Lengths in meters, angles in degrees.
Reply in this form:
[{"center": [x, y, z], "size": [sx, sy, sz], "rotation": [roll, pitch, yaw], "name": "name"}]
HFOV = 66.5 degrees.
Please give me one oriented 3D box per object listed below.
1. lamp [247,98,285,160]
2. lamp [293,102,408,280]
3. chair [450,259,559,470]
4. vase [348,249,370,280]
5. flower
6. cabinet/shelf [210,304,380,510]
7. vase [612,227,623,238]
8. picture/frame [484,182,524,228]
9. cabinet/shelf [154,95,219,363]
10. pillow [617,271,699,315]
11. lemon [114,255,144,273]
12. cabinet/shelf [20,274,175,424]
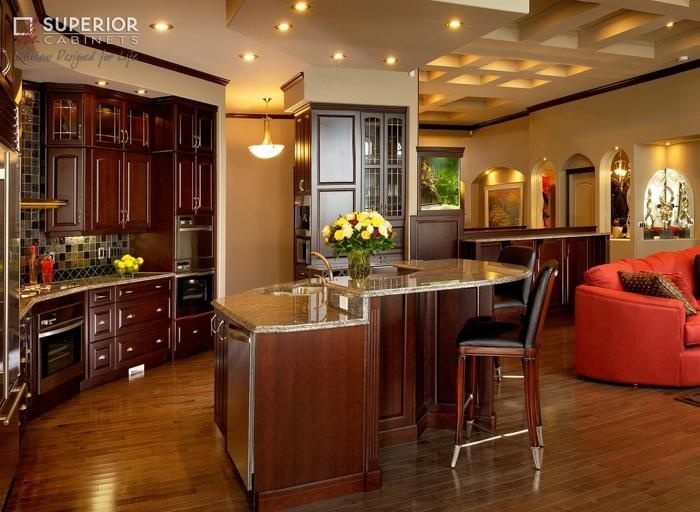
[{"center": [-1.245, -1.944, 8.095], "size": [0.501, 0.885, 0.517], "rotation": [15, 27, 24], "name": "lamp"}, {"center": [0.080, -0.772, 7.640], "size": [1.426, 2.406, 0.768], "rotation": [-3, 3, -18], "name": "lamp"}, {"center": [1.202, 0.796, 4.185], "size": [0.748, 1.549, 0.700], "rotation": [1, 8, 16], "name": "chair"}, {"center": [0.076, 0.067, 4.222], "size": [0.206, 0.240, 0.207], "rotation": [1, 2, -10], "name": "vase"}, {"center": [0.071, -0.171, 4.223], "size": [0.422, 0.308, 0.433], "rotation": [0, 1, 41], "name": "flower"}, {"center": [-0.514, 0.817, 4.285], "size": [1.044, 1.437, 1.702], "rotation": [0, 1, -16], "name": "cabinet/shelf"}, {"center": [4.905, -0.437, 9.767], "size": [0.173, 0.198, 0.175], "rotation": [1, 3, 4], "name": "vase"}, {"center": [3.659, -1.213, 12.519], "size": [0.049, 1.174, 1.161], "rotation": [-2, 5, -25], "name": "picture/frame"}, {"center": [-2.119, -0.354, 6.937], "size": [0.393, 3.243, 0.917], "rotation": [4, 9, 34], "name": "cabinet/shelf"}, {"center": [3.147, 0.327, 5.457], "size": [0.504, 0.158, 0.521], "rotation": [13, 1, 13], "name": "pillow"}, {"center": [-2.659, 0.105, 6.413], "size": [0.310, 0.231, 0.175], "rotation": [-4, 8, -16], "name": "lemon"}, {"center": [-2.658, 0.854, 5.750], "size": [0.295, 1.174, 2.008], "rotation": [1, 9, 19], "name": "cabinet/shelf"}]
